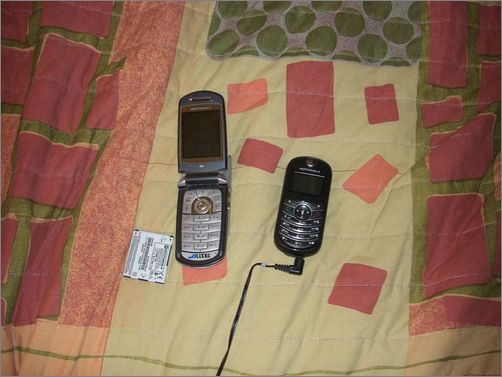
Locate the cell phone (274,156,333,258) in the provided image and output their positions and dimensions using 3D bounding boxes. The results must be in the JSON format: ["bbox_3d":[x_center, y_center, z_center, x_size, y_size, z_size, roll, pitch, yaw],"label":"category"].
[{"bbox_3d":[0.138,0.053,1.523,0.125,0.280,0.065,8,-29,11],"label":"cell phone"}]
